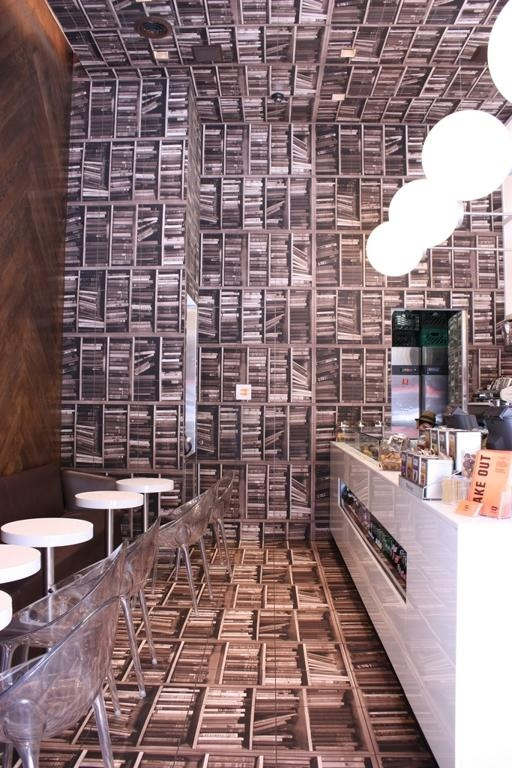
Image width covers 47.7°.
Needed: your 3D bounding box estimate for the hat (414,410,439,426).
[{"bbox_3d":[1.398,0.290,4.800,0.140,0.069,0.161,7,3,-15],"label":"hat"}]
